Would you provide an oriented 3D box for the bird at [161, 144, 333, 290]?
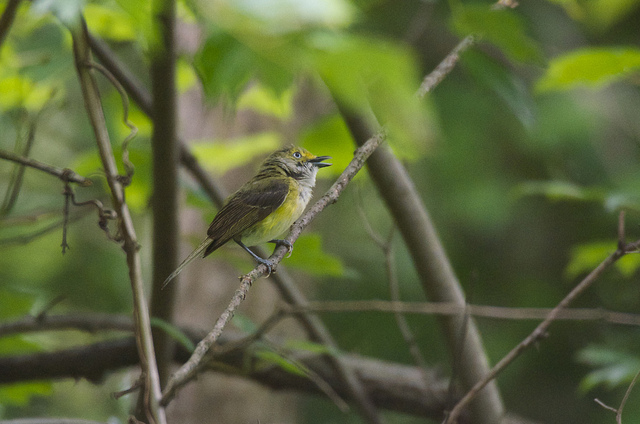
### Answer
[{"bbox_3d":[-0.329,-0.031,4.026,0.738,0.723,0.377,4,-24,-10],"label":"bird"}]
